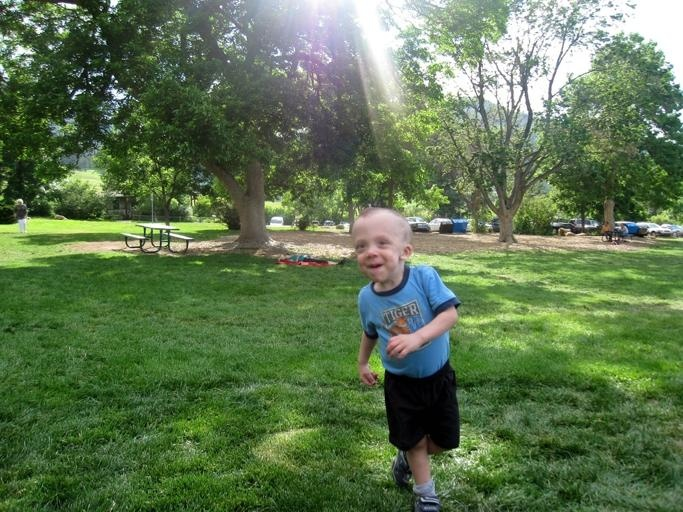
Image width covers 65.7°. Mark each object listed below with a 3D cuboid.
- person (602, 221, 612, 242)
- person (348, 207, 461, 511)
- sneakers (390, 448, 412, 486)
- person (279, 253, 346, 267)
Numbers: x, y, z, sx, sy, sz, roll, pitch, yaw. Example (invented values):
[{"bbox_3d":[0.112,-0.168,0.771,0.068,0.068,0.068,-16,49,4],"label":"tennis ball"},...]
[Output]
[{"bbox_3d":[15.457,-1.424,30.634,0.487,1.228,0.795,6,13,23],"label":"person"},{"bbox_3d":[0.534,0.854,4.394,0.934,2.472,0.604,4,13,13],"label":"person"},{"bbox_3d":[0.539,1.893,4.716,0.119,0.162,0.364,6,3,5],"label":"sneakers"},{"bbox_3d":[-0.996,0.158,16.750,1.369,0.279,0.811,1,-5,-2],"label":"person"}]
